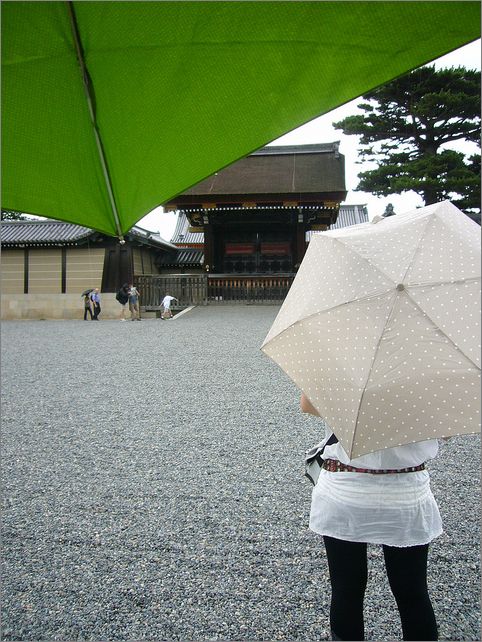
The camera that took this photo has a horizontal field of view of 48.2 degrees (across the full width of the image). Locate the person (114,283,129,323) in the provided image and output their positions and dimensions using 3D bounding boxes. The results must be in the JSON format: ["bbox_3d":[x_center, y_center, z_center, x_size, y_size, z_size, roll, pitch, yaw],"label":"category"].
[{"bbox_3d":[-3.695,-0.595,16.896,0.384,1.120,1.758,-1,5,-12],"label":"person"}]

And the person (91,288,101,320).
[{"bbox_3d":[-4.700,-0.530,17.372,0.251,0.998,1.147,-1,5,-13],"label":"person"}]
